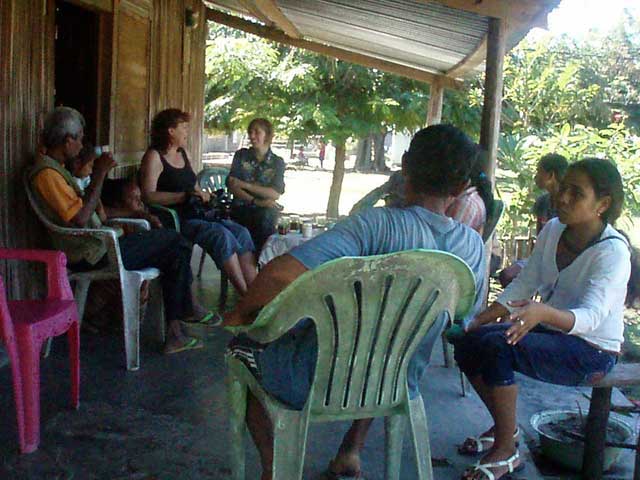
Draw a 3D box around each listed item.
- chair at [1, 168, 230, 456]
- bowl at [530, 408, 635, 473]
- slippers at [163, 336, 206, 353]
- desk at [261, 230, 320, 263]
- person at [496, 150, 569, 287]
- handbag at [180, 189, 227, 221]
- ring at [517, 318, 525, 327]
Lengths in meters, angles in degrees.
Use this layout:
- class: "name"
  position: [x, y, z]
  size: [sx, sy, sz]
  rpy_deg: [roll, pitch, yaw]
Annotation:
- class: "chair"
  position: [-1.622, 0.254, 4.291]
  size: [0.943, 1.183, 0.719]
  rpy_deg: [9, 7, 8]
- class: "bowl"
  position: [1.449, 1.138, 3.259]
  size: [0.386, 0.167, 0.406]
  rpy_deg: [1, 4, 0]
- class: "slippers"
  position: [-1.054, 0.809, 4.367]
  size: [0.285, 0.120, 0.107]
  rpy_deg: [-6, 13, -25]
- class: "desk"
  position: [-0.274, 0.093, 5.300]
  size: [0.537, 0.239, 0.562]
  rpy_deg: [-1, 0, 0]
- class: "person"
  position: [1.843, -0.071, 4.860]
  size: [0.739, 1.304, 0.729]
  rpy_deg: [-6, 18, 20]
- class: "handbag"
  position: [-1.100, -0.325, 5.370]
  size: [0.347, 0.161, 0.232]
  rpy_deg: [1, 11, -15]
- class: "ring"
  position: [0.990, 0.405, 2.755]
  size: [0.031, 0.021, 0.010]
  rpy_deg: [10, 7, 8]
